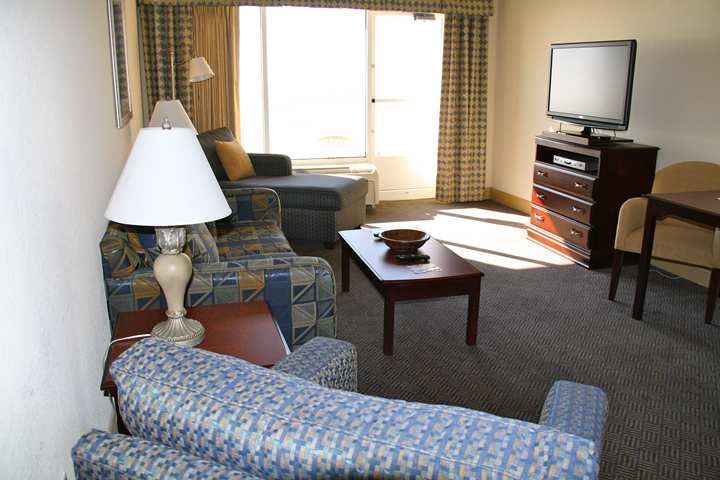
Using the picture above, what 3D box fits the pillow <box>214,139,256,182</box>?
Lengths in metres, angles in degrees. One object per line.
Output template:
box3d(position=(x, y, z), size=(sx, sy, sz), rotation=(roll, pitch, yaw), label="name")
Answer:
box3d(position=(-1.442, -0.913, 6.018), size=(0.279, 0.452, 0.562), rotation=(3, 10, 6), label="pillow")

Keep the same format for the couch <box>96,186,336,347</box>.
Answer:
box3d(position=(-0.882, -0.185, 3.049), size=(0.798, 0.636, 1.415), rotation=(-4, 16, -14), label="couch")

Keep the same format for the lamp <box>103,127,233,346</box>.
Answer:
box3d(position=(-0.861, -0.010, 2.337), size=(0.518, 1.026, 0.317), rotation=(2, 10, -14), label="lamp")

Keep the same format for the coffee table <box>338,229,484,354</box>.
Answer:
box3d(position=(0.328, 0.325, 4.126), size=(0.830, 0.525, 1.298), rotation=(-2, 17, -12), label="coffee table")

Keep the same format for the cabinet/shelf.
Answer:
box3d(position=(2.329, -0.451, 5.456), size=(0.675, 1.080, 1.170), rotation=(-3, 17, -11), label="cabinet/shelf")

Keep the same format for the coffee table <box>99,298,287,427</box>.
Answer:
box3d(position=(-0.777, 0.681, 2.675), size=(0.612, 0.550, 0.588), rotation=(-7, 29, -18), label="coffee table")

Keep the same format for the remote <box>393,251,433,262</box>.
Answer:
box3d(position=(0.378, 0.120, 3.824), size=(0.174, 0.039, 0.086), rotation=(0, 13, -10), label="remote")

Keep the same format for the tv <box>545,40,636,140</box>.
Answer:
box3d(position=(2.267, -1.467, 5.183), size=(0.269, 0.907, 1.220), rotation=(-9, 21, -13), label="tv")
